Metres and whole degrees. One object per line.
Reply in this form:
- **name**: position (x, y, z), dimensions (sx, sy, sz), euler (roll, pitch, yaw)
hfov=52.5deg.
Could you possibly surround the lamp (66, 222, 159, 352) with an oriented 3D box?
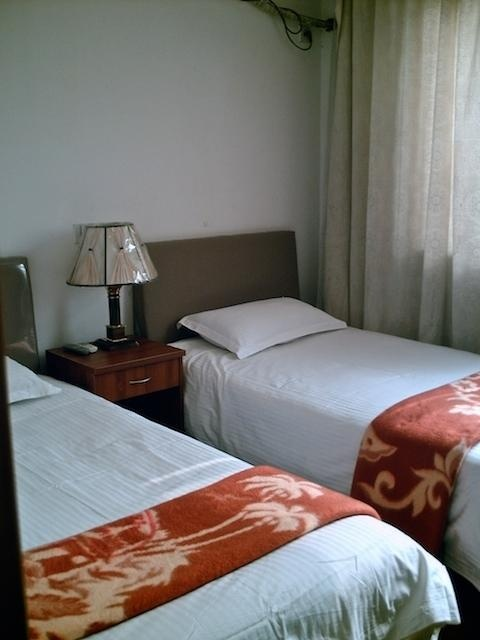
- **lamp**: position (-0.659, -0.252, 2.585), dimensions (0.486, 0.696, 0.515), euler (-14, 22, -33)

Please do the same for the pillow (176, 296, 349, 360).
- **pillow**: position (0.169, 0.013, 2.722), dimensions (0.630, 0.143, 0.414), euler (-12, 34, -41)

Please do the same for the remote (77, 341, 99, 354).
- **remote**: position (-0.719, 0.127, 2.314), dimensions (0.059, 0.020, 0.060), euler (-11, 21, -39)

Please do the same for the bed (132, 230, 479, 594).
- **bed**: position (0.423, 0.374, 2.373), dimensions (1.039, 1.152, 1.830), euler (-15, 25, -35)

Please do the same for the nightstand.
- **nightstand**: position (-0.594, 0.276, 2.442), dimensions (0.538, 0.644, 0.473), euler (-13, 21, -41)
